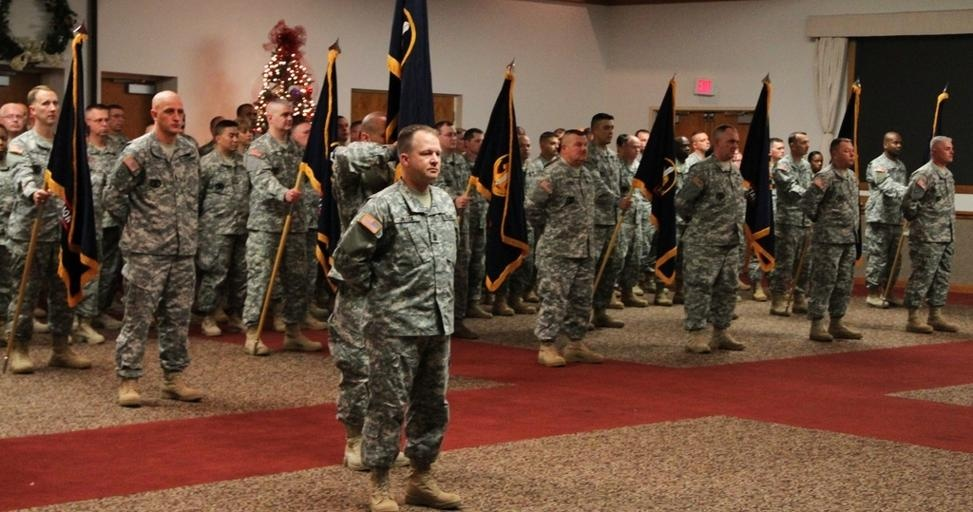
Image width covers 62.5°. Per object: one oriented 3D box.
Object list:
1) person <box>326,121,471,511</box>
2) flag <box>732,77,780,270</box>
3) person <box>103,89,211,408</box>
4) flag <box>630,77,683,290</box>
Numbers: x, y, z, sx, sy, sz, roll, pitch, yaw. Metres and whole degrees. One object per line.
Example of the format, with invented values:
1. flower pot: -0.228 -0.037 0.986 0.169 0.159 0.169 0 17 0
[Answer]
1. person: -0.601 0.458 5.760 0.841 2.736 0.776 -1 15 -12
2. flag: 3.423 -1.019 10.004 0.508 2.366 0.700 6 15 14
3. person: -3.002 -0.074 7.323 0.796 2.784 0.795 -3 15 -18
4. flag: 2.091 -0.897 9.757 0.554 2.404 0.549 5 15 13
